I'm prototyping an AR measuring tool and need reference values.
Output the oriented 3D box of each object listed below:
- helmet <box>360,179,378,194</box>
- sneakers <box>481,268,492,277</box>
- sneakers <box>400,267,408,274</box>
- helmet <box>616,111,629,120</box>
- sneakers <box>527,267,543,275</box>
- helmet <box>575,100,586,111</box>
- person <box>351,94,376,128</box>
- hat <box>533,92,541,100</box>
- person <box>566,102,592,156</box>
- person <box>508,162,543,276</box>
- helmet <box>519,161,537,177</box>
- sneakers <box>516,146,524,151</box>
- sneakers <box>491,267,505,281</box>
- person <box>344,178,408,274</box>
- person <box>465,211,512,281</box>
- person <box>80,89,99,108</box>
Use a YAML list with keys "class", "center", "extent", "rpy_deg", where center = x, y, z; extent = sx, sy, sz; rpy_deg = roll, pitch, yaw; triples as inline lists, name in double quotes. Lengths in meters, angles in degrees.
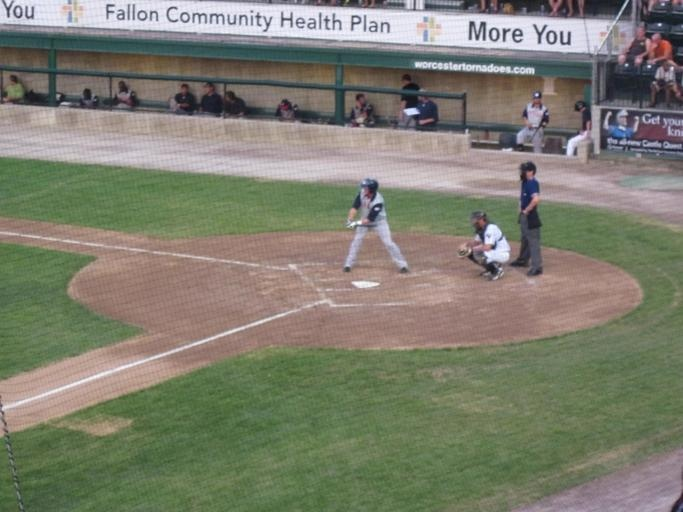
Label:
- class: "helmet"
  center: [0.488, -1.239, 24.349]
  extent: [0.249, 0.229, 0.506]
  rpy_deg: [1, 13, -3]
- class: "sneakers"
  center: [2.525, 0.283, 24.468]
  extent: [0.143, 0.087, 0.082]
  rpy_deg: [-11, 21, 20]
- class: "sneakers"
  center: [1.098, 0.244, 24.511]
  extent: [0.126, 0.109, 0.071]
  rpy_deg: [0, 17, 3]
- class: "helmet"
  center: [5.900, -2.961, 29.411]
  extent: [0.219, 0.084, 0.273]
  rpy_deg: [1, 3, -21]
- class: "sneakers"
  center: [3.369, 0.266, 24.464]
  extent: [0.273, 0.163, 0.111]
  rpy_deg: [1, 28, 5]
- class: "helmet"
  center: [5.148, -3.228, 30.262]
  extent: [0.228, 0.171, 0.249]
  rpy_deg: [-2, 30, 26]
- class: "person"
  center: [0.434, -3.300, 32.135]
  extent: [0.493, 0.770, 0.562]
  rpy_deg: [1, 12, 29]
- class: "hat"
  center: [4.188, -3.435, 30.044]
  extent: [0.159, 0.103, 0.212]
  rpy_deg: [6, 14, 14]
- class: "person"
  center: [5.155, -2.770, 30.362]
  extent: [0.499, 1.140, 1.251]
  rpy_deg: [4, 14, 8]
- class: "person"
  center: [3.309, -0.649, 24.468]
  extent: [0.450, 1.943, 0.613]
  rpy_deg: [-3, 15, -16]
- class: "helmet"
  center: [3.233, -1.507, 24.351]
  extent: [0.343, 0.290, 0.258]
  rpy_deg: [-2, 14, 8]
- class: "sneakers"
  center: [3.929, -2.368, 30.887]
  extent: [0.129, 0.109, 0.112]
  rpy_deg: [-4, 6, -33]
- class: "sneakers"
  center: [2.710, 0.316, 24.314]
  extent: [0.316, 0.136, 0.117]
  rpy_deg: [-40, 24, -23]
- class: "person"
  center: [0.634, -0.559, 24.596]
  extent: [1.145, 1.658, 0.937]
  rpy_deg: [1, 14, -1]
- class: "person"
  center: [2.513, -0.196, 24.393]
  extent: [0.961, 1.140, 0.811]
  rpy_deg: [-10, 8, -11]
- class: "person"
  center: [-6.100, -3.814, 34.010]
  extent: [0.458, 0.687, 0.405]
  rpy_deg: [-4, 59, -10]
